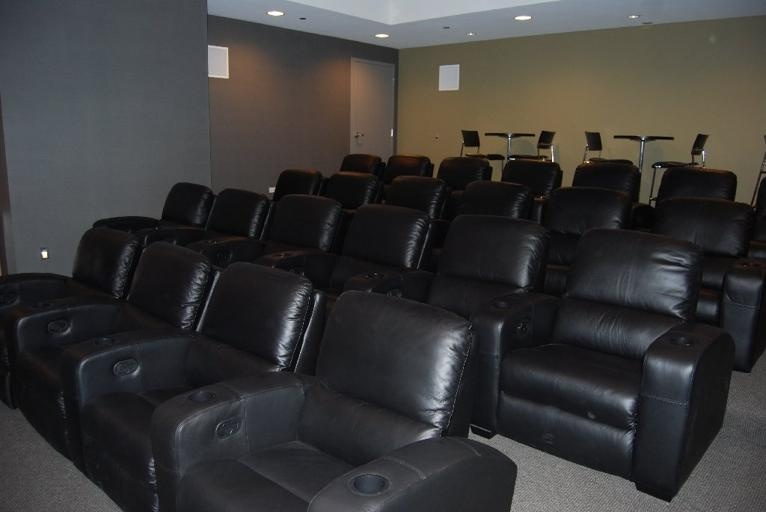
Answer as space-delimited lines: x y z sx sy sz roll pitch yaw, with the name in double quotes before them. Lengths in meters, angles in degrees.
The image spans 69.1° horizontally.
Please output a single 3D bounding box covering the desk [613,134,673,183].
"desk" 4.042 -1.573 8.525 0.716 0.515 0.700 -23 20 -36
